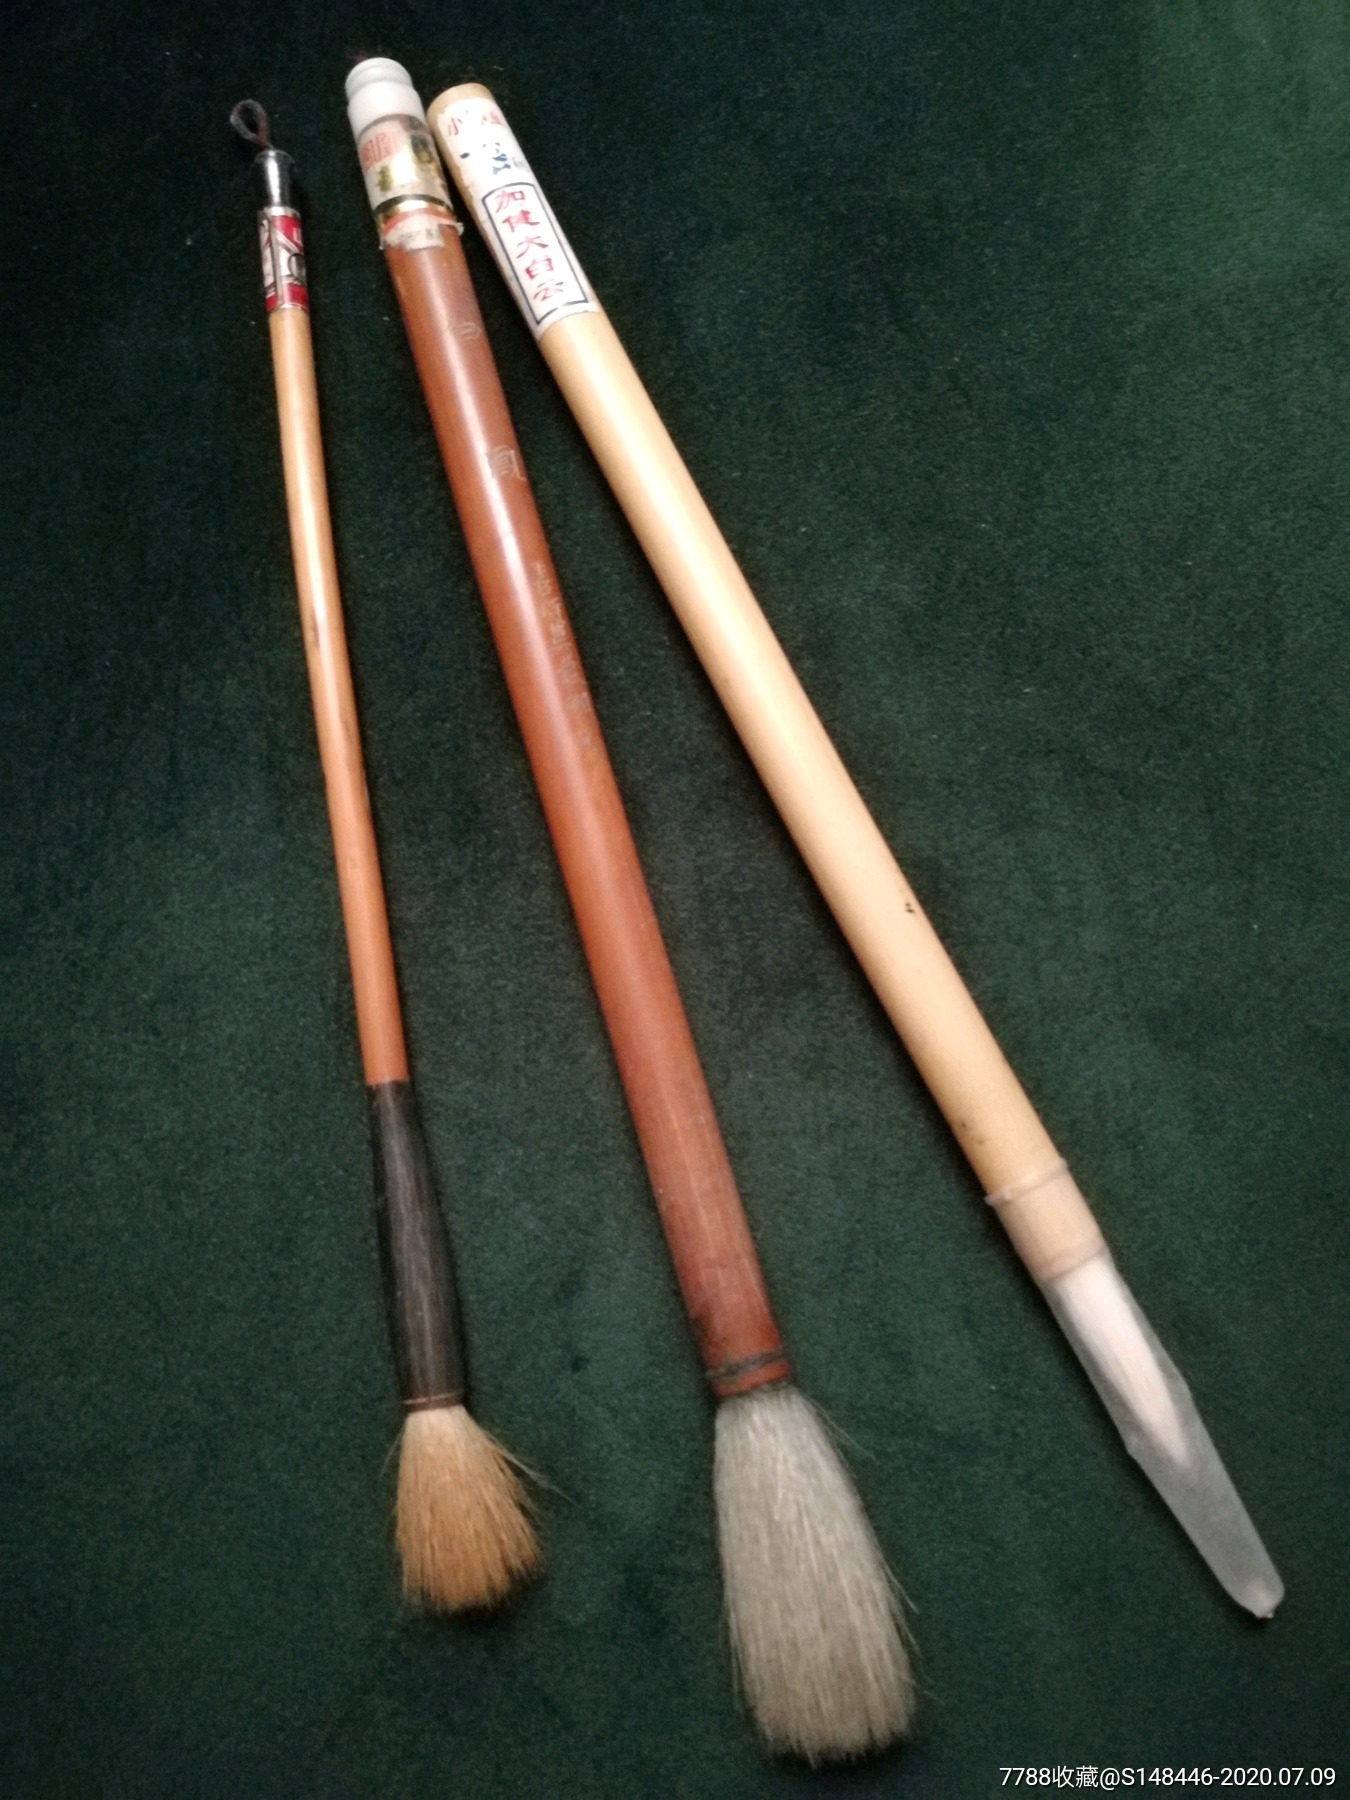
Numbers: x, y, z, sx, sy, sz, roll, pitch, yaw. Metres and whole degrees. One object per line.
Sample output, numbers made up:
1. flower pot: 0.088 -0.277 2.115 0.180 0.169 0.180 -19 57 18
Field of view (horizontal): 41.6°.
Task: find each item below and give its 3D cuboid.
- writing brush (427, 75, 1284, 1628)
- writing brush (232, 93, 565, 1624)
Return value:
1. writing brush: 0.099 0.006 0.937 0.060 0.097 0.969 -29 77 -34
2. writing brush: -0.197 -0.046 0.951 0.126 0.140 0.783 -9 79 -6
